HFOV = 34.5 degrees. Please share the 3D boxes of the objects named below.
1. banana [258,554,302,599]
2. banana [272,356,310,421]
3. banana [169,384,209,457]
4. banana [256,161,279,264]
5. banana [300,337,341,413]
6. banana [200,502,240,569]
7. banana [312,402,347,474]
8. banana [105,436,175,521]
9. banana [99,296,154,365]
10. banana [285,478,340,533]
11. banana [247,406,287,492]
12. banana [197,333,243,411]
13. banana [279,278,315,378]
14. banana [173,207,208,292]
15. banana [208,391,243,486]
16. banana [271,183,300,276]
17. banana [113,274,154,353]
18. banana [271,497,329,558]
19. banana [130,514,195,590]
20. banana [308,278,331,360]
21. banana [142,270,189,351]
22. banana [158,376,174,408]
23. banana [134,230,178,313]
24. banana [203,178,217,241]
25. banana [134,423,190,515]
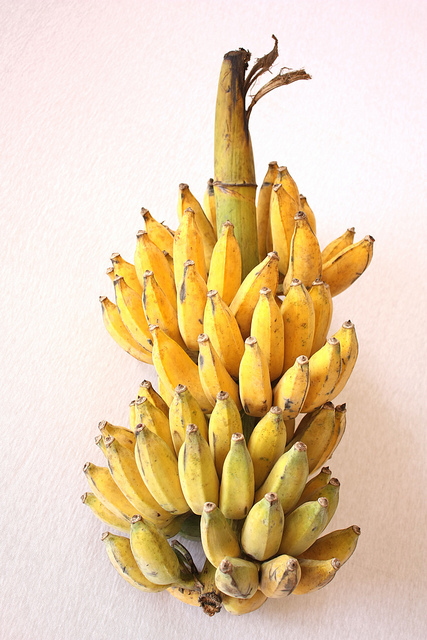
[{"bbox_3d":[0.093,0.367,1.023,0.051,0.063,0.095,-12,-10,-13],"label":"banana"},{"bbox_3d":[0.125,0.107,1.080,0.035,0.139,0.050,2,58,-6],"label":"banana"},{"bbox_3d":[-0.047,0.154,1.089,0.042,0.137,0.045,-2,36,-4],"label":"banana"},{"bbox_3d":[0.123,-0.217,1.498,0.038,0.226,0.037,15,58,17],"label":"banana"},{"bbox_3d":[0.170,0.092,1.149,0.037,0.130,0.045,-2,40,-21],"label":"banana"},{"bbox_3d":[0.014,0.311,1.049,0.041,0.118,0.044,-22,29,-20],"label":"banana"},{"bbox_3d":[0.200,0.232,1.290,0.049,0.147,0.041,1,24,-47],"label":"banana"},{"bbox_3d":[-0.136,0.259,1.178,0.065,0.193,0.056,-35,12,-37],"label":"banana"},{"bbox_3d":[-0.175,0.023,1.401,0.043,0.160,0.056,-29,2,36],"label":"banana"},{"bbox_3d":[0.177,0.323,1.209,0.055,0.049,0.157,-49,-4,-21],"label":"banana"},{"bbox_3d":[0.076,0.198,1.102,0.042,0.143,0.046,6,20,-15],"label":"banana"},{"bbox_3d":[0.005,0.103,1.136,0.050,0.156,0.043,-7,17,24],"label":"banana"},{"bbox_3d":[0.131,0.007,1.166,0.045,0.169,0.056,-1,15,-20],"label":"banana"},{"bbox_3d":[-0.039,-0.164,1.302,0.048,0.047,0.176,-18,30,22],"label":"banana"},{"bbox_3d":[0.010,0.180,1.074,0.047,0.153,0.044,-4,26,-22],"label":"banana"},{"bbox_3d":[0.129,-0.172,1.299,0.042,0.175,0.059,-3,18,-7],"label":"banana"},{"bbox_3d":[-0.149,-0.016,1.290,0.046,0.142,0.038,-12,9,42],"label":"banana"},{"bbox_3d":[0.138,0.313,1.093,0.048,0.139,0.045,36,34,-1],"label":"banana"},{"bbox_3d":[-0.087,0.368,1.101,0.051,0.159,0.048,-23,26,-23],"label":"banana"},{"bbox_3d":[0.174,0.002,1.225,0.036,0.143,0.048,-4,23,-14],"label":"banana"},{"bbox_3d":[-0.096,-0.024,1.255,0.044,0.157,0.053,-21,15,-6],"label":"banana"},{"bbox_3d":[-0.084,0.127,1.223,0.017,0.064,0.022,-11,11,17],"label":"banana"},{"bbox_3d":[-0.096,-0.067,1.331,0.055,0.196,0.057,-11,28,14],"label":"banana"},{"bbox_3d":[-0.006,-0.243,1.509,0.030,0.125,0.042,-9,-12,11],"label":"banana"},{"bbox_3d":[-0.085,0.233,1.078,0.053,0.177,0.056,-11,16,39],"label":"banana"}]
